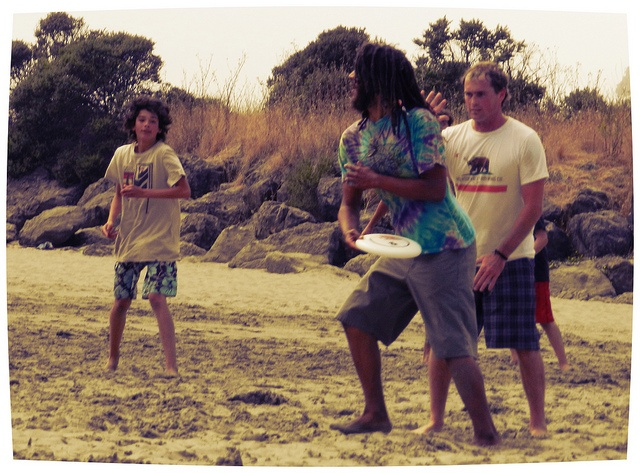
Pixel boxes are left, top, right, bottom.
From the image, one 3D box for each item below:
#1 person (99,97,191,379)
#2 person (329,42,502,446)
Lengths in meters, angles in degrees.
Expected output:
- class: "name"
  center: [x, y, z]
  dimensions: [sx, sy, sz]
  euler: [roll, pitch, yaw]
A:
- class: "person"
  center: [-1.842, -0.035, 8.577]
  dimensions: [0.972, 2.921, 0.558]
  euler: [2, -1, 30]
- class: "person"
  center: [0.777, 0.075, 6.987]
  dimensions: [1.294, 2.998, 0.551]
  euler: [3, -1, 0]
